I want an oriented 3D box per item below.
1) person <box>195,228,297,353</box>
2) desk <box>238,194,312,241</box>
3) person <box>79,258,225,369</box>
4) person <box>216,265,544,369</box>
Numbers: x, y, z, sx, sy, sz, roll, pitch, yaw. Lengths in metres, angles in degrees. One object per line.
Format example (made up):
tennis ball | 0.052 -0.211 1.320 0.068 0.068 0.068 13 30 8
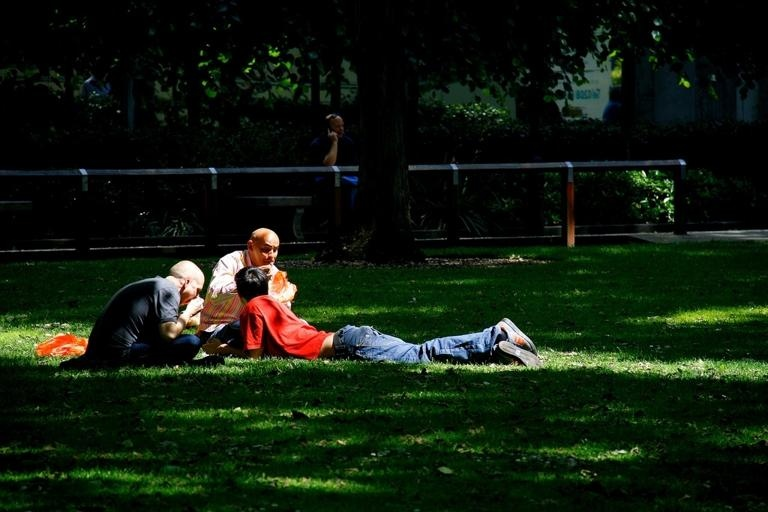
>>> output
person | -1.540 0.397 13.715 1.096 1.412 1.011 7 0 -45
desk | -2.034 -0.703 23.092 0.687 0.786 1.220 0 -8 33
person | -2.536 0.777 12.844 1.283 1.468 1.101 5 -2 -31
person | 0.113 0.746 13.242 3.613 1.056 1.211 3 -6 9
